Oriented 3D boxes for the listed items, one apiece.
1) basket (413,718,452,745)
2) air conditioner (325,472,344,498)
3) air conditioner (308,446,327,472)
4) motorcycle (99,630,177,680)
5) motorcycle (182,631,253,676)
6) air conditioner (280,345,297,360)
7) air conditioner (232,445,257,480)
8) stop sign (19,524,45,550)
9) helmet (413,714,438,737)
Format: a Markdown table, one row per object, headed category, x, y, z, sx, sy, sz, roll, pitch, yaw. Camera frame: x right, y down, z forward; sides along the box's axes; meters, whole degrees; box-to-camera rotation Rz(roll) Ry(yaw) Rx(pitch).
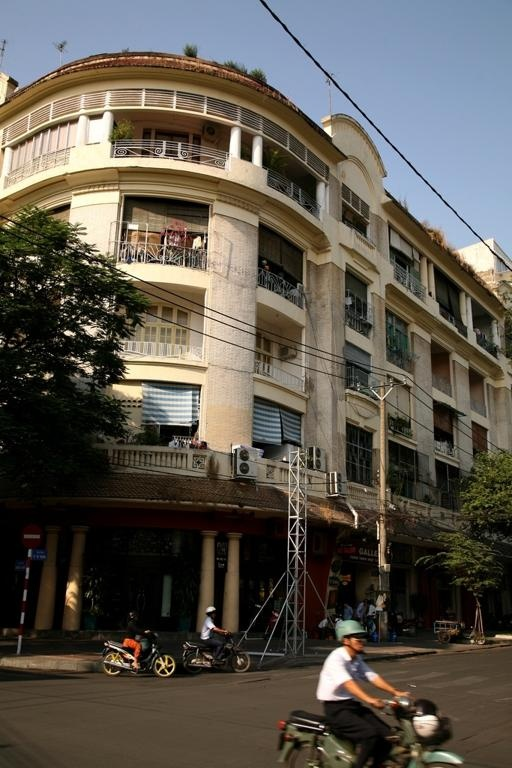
| category | x | y | z | sx | sy | sz | roll | pitch | yaw |
| --- | --- | --- | --- | --- | --- | --- | --- | --- | --- |
| basket | 1.090 | 2.090 | 3.964 | 0.200 | 0.174 | 0.154 | -22 | -12 | 25 |
| air conditioner | 3.068 | 4.001 | 25.755 | 0.337 | 0.758 | 0.844 | -8 | -21 | 23 |
| air conditioner | 2.377 | 2.973 | 25.718 | 0.390 | 0.749 | 0.825 | -16 | -28 | 33 |
| motorcycle | -2.289 | 5.450 | 13.096 | 1.617 | 0.954 | 0.744 | -1 | -20 | -2 |
| motorcycle | -0.859 | 5.713 | 13.848 | 1.523 | 0.939 | 0.738 | 1 | -32 | -7 |
| air conditioner | 1.343 | -1.304 | 27.452 | 0.605 | 0.579 | 0.576 | -10 | -24 | 43 |
| air conditioner | -0.394 | 2.626 | 21.568 | 0.371 | 1.035 | 0.951 | -15 | -22 | 38 |
| stop sign | -5.140 | 3.537 | 15.054 | 0.367 | 0.578 | 0.585 | 6 | -19 | -11 |
| helmet | 1.014 | 2.041 | 3.903 | 0.108 | 0.108 | 0.127 | 7 | -6 | 10 |
